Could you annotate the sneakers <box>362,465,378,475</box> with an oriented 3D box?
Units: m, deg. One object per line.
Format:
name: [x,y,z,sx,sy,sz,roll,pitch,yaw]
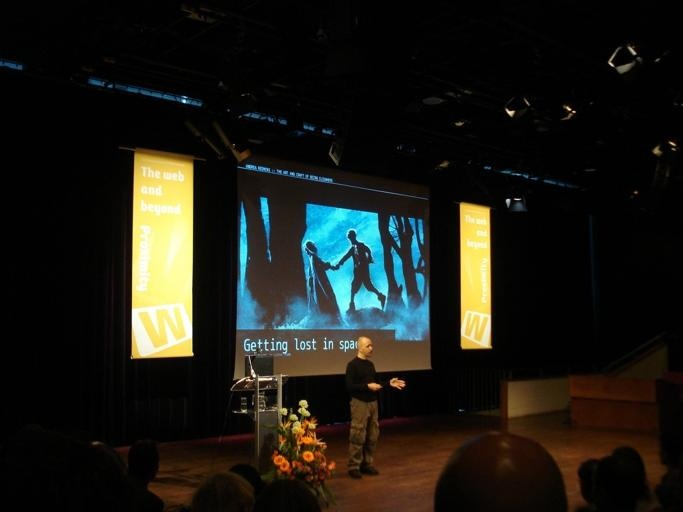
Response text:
sneakers: [0.349,2.701,7.335,0.235,0.108,0.090,-2,-7,15]

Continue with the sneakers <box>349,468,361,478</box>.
sneakers: [0.159,2.668,7.157,0.167,0.107,0.118,-1,-6,11]

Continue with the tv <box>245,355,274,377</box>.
tv: [-0.949,1.273,6.748,0.331,0.331,0.184,2,-10,-21]

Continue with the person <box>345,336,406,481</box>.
person: [0.294,1.894,7.399,0.478,1.695,0.526,0,-5,4]
